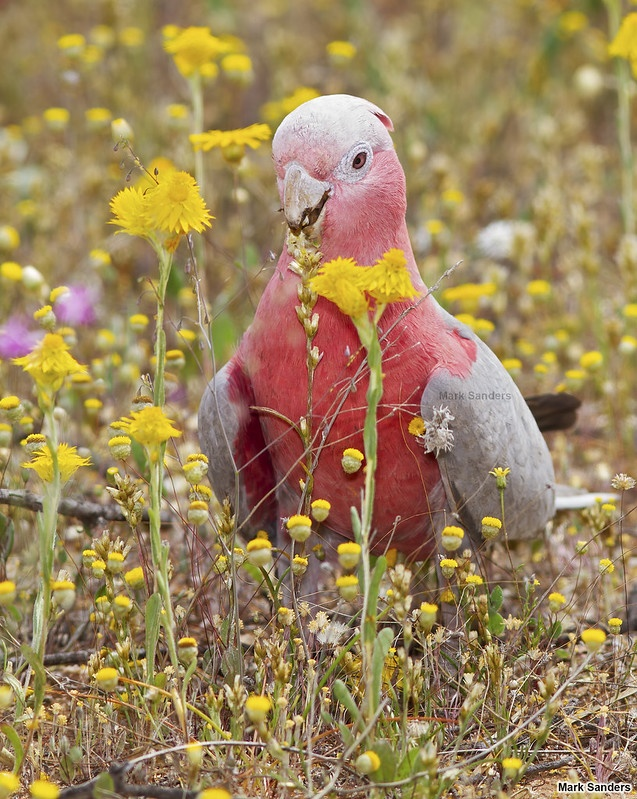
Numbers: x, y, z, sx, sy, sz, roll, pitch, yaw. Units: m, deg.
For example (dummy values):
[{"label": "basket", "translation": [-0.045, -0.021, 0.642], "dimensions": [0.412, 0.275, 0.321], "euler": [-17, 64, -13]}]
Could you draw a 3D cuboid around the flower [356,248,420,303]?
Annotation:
[{"label": "flower", "translation": [0.108, -0.191, 1.789], "dimensions": [0.092, 0.087, 0.089], "euler": [0, 18, -5]}]

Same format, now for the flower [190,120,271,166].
[{"label": "flower", "translation": [-0.182, -0.580, 2.519], "dimensions": [0.184, 0.073, 0.176], "euler": [-6, 2, -19]}]

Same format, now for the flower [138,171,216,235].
[{"label": "flower", "translation": [-0.232, -0.317, 1.833], "dimensions": [0.103, 0.103, 0.144], "euler": [-1, 21, -9]}]
